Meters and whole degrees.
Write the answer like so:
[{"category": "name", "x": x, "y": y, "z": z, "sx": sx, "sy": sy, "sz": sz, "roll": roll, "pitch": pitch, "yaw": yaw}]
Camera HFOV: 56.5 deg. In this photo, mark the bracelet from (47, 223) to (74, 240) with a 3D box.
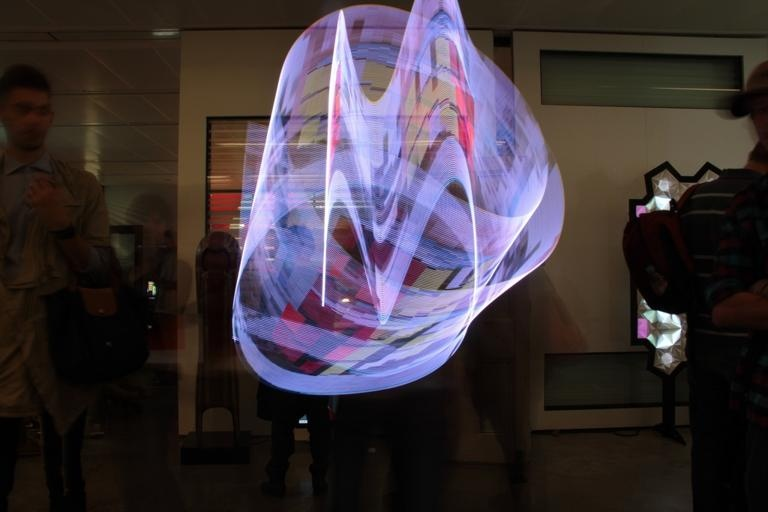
[{"category": "bracelet", "x": -1.822, "y": -0.131, "z": 4.060, "sx": 0.093, "sy": 0.056, "sz": 0.093, "roll": -5, "pitch": -8, "yaw": 7}]
